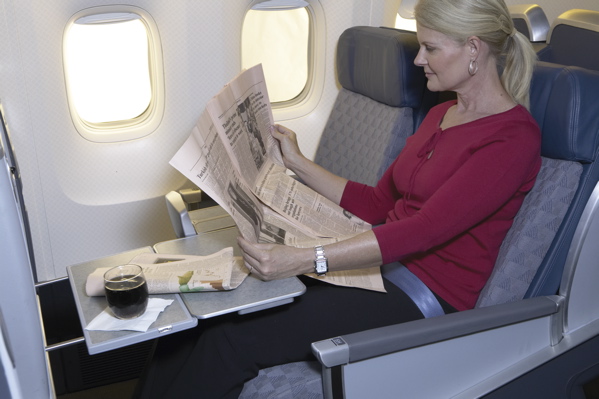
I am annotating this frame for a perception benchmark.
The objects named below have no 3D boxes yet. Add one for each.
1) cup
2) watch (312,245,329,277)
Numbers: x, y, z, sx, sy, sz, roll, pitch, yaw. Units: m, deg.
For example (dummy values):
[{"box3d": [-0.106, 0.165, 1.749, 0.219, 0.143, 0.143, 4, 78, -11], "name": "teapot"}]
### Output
[{"box3d": [-0.466, 0.262, 1.331, 0.125, 0.137, 0.133, -3, 26, 2], "name": "cup"}, {"box3d": [0.068, 0.192, 1.461, 0.046, 0.083, 0.045, -8, 27, -9], "name": "watch"}]
